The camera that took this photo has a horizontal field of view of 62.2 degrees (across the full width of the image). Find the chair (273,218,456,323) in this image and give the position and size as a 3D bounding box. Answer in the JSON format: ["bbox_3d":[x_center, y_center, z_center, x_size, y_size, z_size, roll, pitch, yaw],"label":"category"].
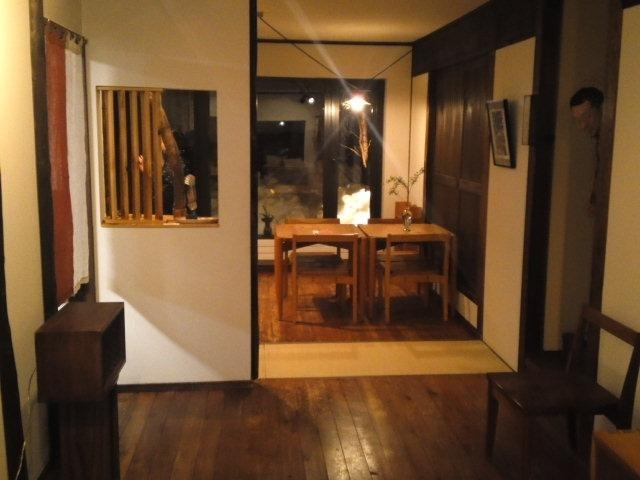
[{"bbox_3d":[0.464,0.319,5.614,1.852,0.917,0.791,-1,13,-4],"label":"chair"}]

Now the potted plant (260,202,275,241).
[{"bbox_3d":[-0.728,-0.240,7.302,0.163,0.439,0.120,-2,12,-8],"label":"potted plant"}]

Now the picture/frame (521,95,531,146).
[{"bbox_3d":[1.557,-0.898,4.027,0.062,0.374,0.200,4,13,17],"label":"picture/frame"}]

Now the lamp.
[{"bbox_3d":[0.420,-2.204,6.539,1.977,0.906,0.476,-1,7,-2],"label":"lamp"}]
